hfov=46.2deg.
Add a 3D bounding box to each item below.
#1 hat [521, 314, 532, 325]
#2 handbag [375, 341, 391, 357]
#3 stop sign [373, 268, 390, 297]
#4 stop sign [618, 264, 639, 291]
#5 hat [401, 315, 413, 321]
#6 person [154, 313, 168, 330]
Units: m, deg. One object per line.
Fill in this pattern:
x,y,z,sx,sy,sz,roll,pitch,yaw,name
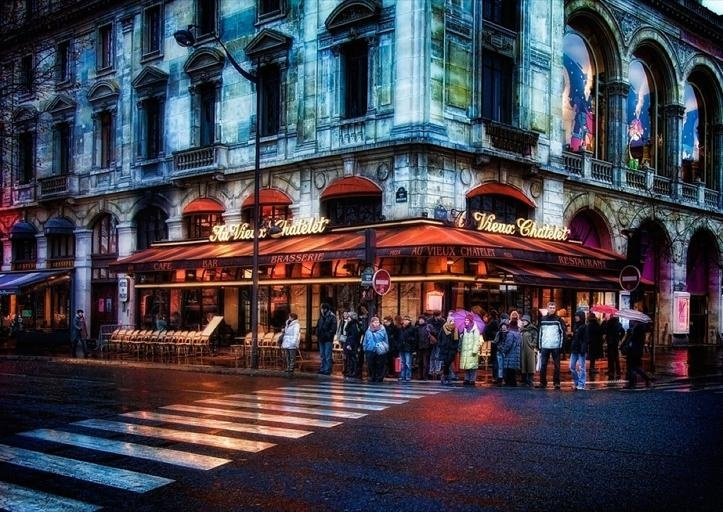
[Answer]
5.565,2.133,28.465,0.342,0.362,0.296,10,-9,-29,hat
0.691,3.114,29.019,0.657,0.780,0.383,3,-4,-43,handbag
0.746,0.929,30.360,0.954,1.110,0.223,8,-12,-35,stop sign
10.130,0.826,31.782,0.165,1.332,1.102,0,-1,-33,stop sign
1.749,2.327,31.838,0.295,0.180,0.457,0,-19,11,hat
-9.752,3.195,41.325,0.534,1.191,0.379,12,20,43,person
